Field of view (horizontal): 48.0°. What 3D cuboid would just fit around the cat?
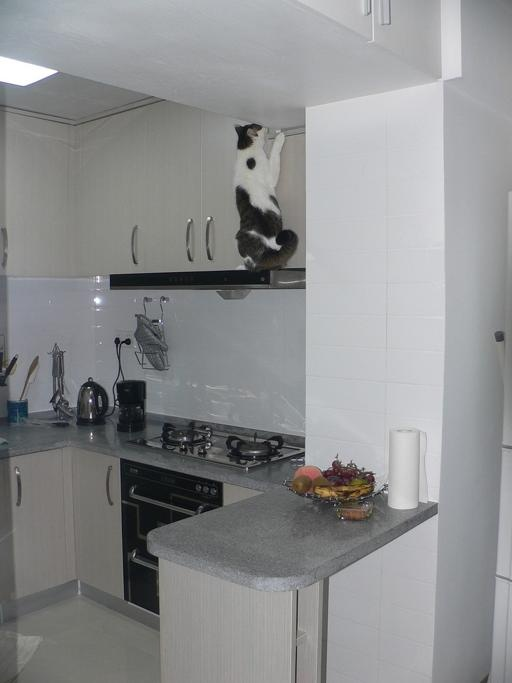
[{"bbox_3d":[0.037,-0.543,2.305,0.196,0.641,0.261,1,7,23],"label":"cat"}]

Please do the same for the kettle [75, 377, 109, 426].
[{"bbox_3d":[-0.929,0.344,3.262,0.167,0.281,0.251,-2,9,-31],"label":"kettle"}]

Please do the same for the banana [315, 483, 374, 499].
[{"bbox_3d":[0.215,0.369,1.414,0.150,0.024,0.037,-2,-2,-4],"label":"banana"}]

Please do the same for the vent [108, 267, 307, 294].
[{"bbox_3d":[-0.170,-0.280,2.450,0.919,0.119,0.319,6,8,34],"label":"vent"}]

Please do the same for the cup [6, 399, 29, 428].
[{"bbox_3d":[-1.367,0.402,3.289,0.112,0.137,0.117,2,5,0],"label":"cup"}]

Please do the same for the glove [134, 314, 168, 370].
[{"bbox_3d":[-0.636,0.005,3.330,0.146,0.341,0.352,-1,-2,-38],"label":"glove"}]

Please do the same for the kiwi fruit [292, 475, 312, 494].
[{"bbox_3d":[0.113,0.356,1.423,0.048,0.048,0.037,-3,-2,9],"label":"kiwi fruit"}]

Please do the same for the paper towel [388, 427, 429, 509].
[{"bbox_3d":[0.371,0.320,1.499,0.098,0.210,0.125,2,2,43],"label":"paper towel"}]

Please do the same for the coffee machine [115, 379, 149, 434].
[{"bbox_3d":[-0.662,0.345,3.056,0.204,0.365,0.235,-1,-3,13],"label":"coffee machine"}]

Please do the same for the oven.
[{"bbox_3d":[-0.343,0.905,2.742,0.552,0.778,0.470,9,13,22],"label":"oven"}]
